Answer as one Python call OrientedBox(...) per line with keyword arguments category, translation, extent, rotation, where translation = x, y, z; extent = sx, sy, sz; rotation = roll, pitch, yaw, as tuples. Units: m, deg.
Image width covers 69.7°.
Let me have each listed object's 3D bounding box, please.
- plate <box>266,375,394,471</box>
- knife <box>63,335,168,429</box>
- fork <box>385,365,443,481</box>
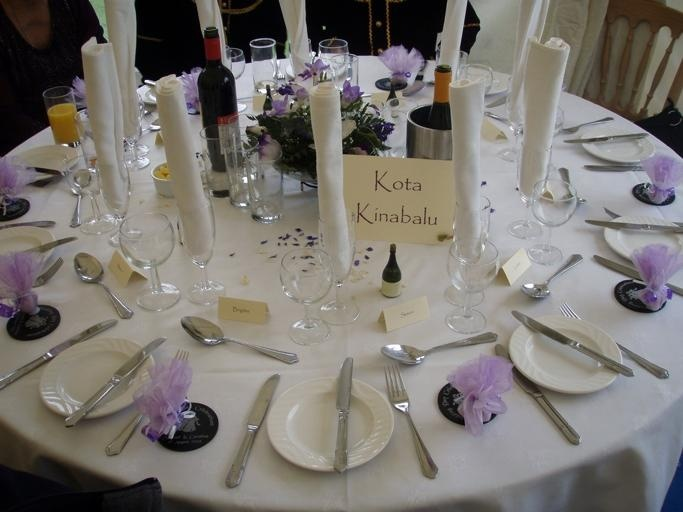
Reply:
OrientedBox(category="plate", translation=(-0.022, 0.374, 1.100), extent=(0.283, 0.046, 0.215), rotation=(1, 36, 3))
OrientedBox(category="knife", translation=(-0.513, 0.280, 1.264), extent=(0.060, 0.020, 0.437), rotation=(32, 40, 10))
OrientedBox(category="fork", translation=(0.147, 0.360, 1.122), extent=(0.043, 0.051, 0.353), rotation=(3, 44, -18))
